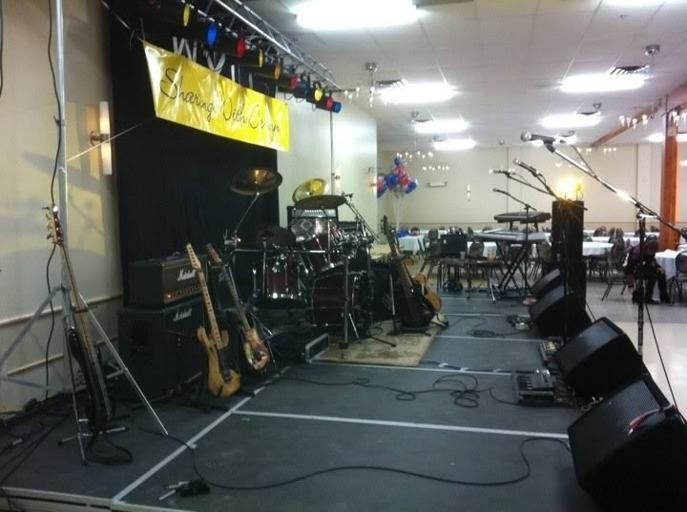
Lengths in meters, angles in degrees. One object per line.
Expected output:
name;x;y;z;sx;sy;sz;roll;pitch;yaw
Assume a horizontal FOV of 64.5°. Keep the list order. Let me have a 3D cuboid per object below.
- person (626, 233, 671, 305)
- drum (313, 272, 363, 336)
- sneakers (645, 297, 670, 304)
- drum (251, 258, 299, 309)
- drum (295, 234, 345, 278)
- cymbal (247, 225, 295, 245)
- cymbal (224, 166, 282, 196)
person;4.530;0.171;8.124;0.584;0.975;0.418;6;25;40
drum;-0.098;0.564;6.188;0.505;0.865;0.590;2;11;13
sneakers;4.665;0.658;8.117;0.338;0.147;0.110;-4;-7;10
drum;-0.737;0.311;6.538;0.651;0.682;0.696;-3;-8;1
drum;-0.275;0.009;6.328;0.520;0.525;0.442;0;11;2
cymbal;-0.799;-0.221;6.151;0.507;0.285;0.265;-2;11;-8
cymbal;-1.012;-0.863;6.270;0.585;0.307;0.367;-4;11;-13
